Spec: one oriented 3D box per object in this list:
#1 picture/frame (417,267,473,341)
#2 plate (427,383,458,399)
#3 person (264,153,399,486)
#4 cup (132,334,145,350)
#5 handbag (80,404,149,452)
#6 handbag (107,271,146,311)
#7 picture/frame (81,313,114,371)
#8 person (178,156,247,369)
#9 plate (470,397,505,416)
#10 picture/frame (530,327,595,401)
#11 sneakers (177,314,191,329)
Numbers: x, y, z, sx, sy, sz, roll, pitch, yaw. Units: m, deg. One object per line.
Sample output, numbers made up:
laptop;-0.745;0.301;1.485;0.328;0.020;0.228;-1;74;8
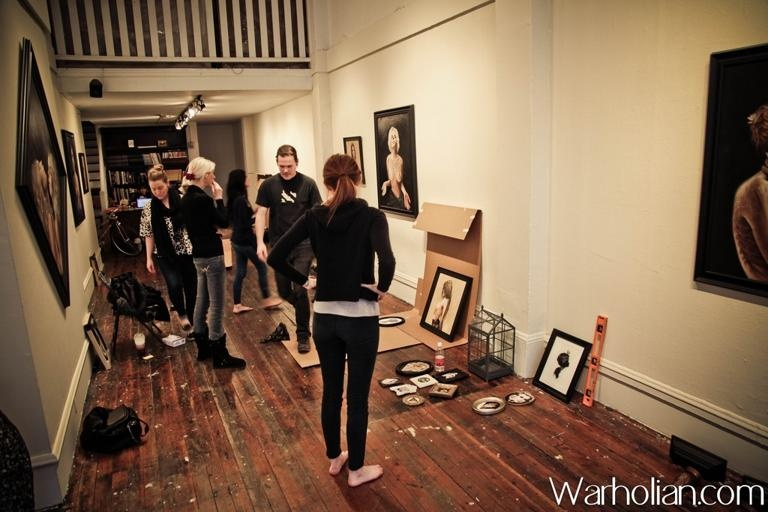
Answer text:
picture/frame;0.758;0.590;5.930;0.032;0.820;0.680;16;5;-29
plate;0.569;1.300;4.751;0.281;0.074;0.200;6;17;14
person;-0.336;0.448;3.540;0.715;2.306;0.443;12;18;36
cup;-2.960;1.020;5.850;0.102;0.221;0.253;-5;17;-23
handbag;-2.381;1.500;4.248;0.460;0.212;0.342;1;22;-13
handbag;-3.169;0.436;5.937;0.377;0.379;0.482;-9;19;-34
picture/frame;-3.335;1.007;5.615;0.078;0.573;0.487;-17;19;-9
person;-1.867;0.108;5.216;0.487;2.261;0.598;-6;16;-24
plate;0.974;1.386;4.542;0.340;0.044;0.239;-5;18;-23
picture/frame;1.738;1.045;4.677;0.078;0.756;0.550;21;-1;-32
sneakers;-2.631;0.877;6.415;0.136;0.206;0.197;-11;-12;-22
